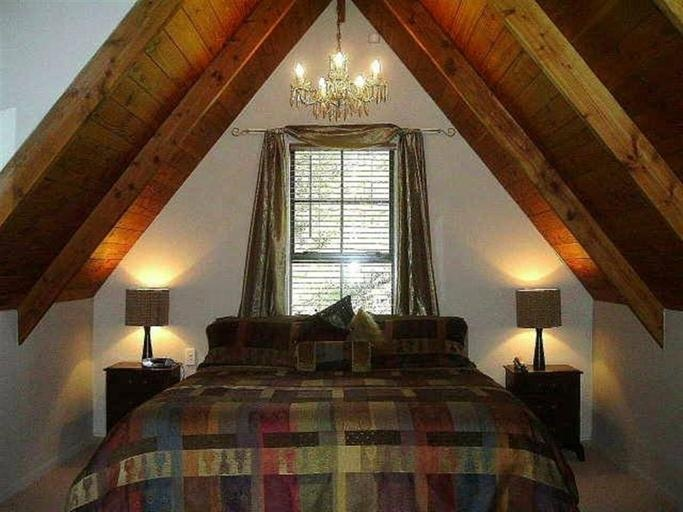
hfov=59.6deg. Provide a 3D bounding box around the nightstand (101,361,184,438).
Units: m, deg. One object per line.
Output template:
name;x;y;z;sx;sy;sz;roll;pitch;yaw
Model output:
nightstand;-1.500;1.099;4.782;0.642;0.653;0.494;-1;-5;-1
